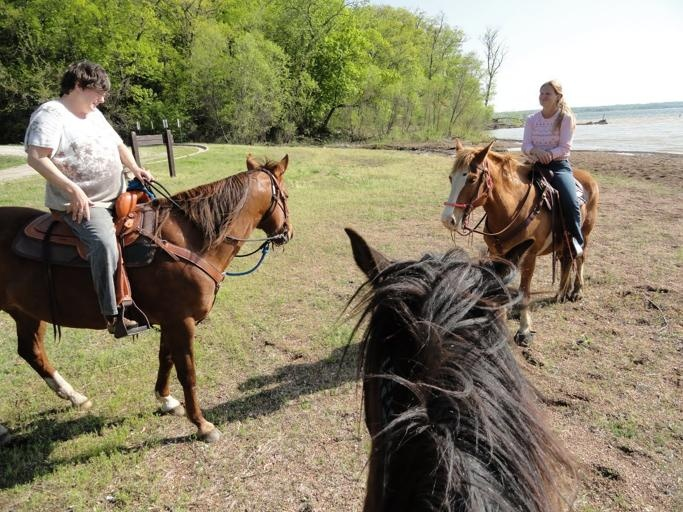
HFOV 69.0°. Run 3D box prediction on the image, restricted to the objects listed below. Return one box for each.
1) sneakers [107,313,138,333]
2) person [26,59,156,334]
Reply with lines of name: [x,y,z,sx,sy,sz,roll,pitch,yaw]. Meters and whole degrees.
sneakers: [-2.280,0.694,5.243,0.387,0.182,0.146,-5,14,-16]
person: [-2.673,-0.534,5.113,0.859,2.802,0.968,-6,18,-24]
